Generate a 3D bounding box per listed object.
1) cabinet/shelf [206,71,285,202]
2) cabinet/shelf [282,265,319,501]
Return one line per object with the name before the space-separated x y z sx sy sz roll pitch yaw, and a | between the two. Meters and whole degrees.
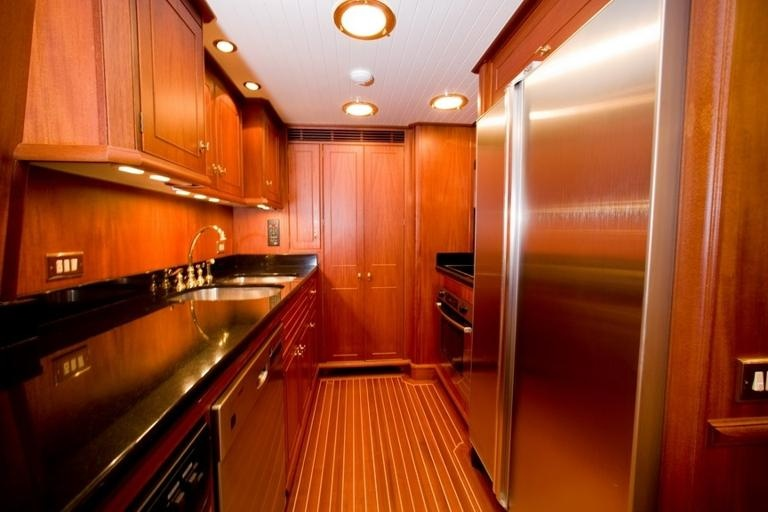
cabinet/shelf | -0.878 -0.759 3.315 0.237 0.426 0.683 0 5 3
cabinet/shelf | -0.482 0.744 3.053 0.195 0.506 1.022 -1 22 -3
